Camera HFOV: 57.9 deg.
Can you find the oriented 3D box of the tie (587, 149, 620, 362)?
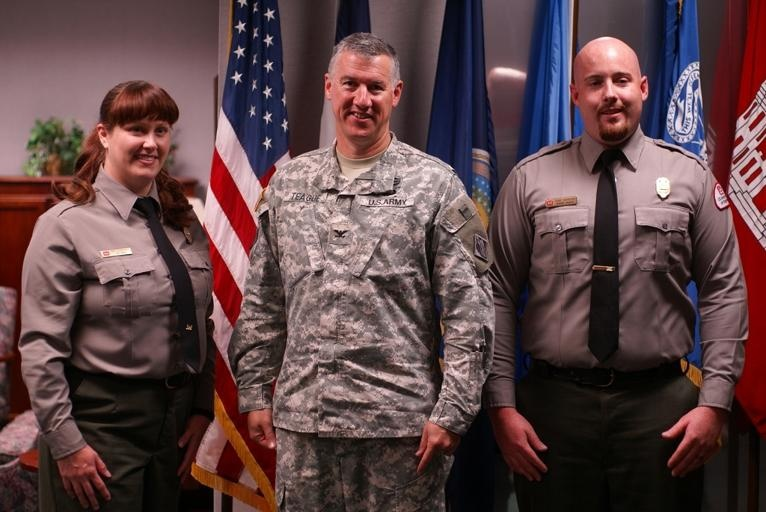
[{"bbox_3d":[0.892,-0.019,2.794,0.109,0.836,0.250,0,5,20],"label":"tie"}]

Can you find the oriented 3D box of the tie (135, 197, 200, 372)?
[{"bbox_3d":[-0.862,0.105,2.908,0.166,1.011,0.191,1,-18,-43],"label":"tie"}]
